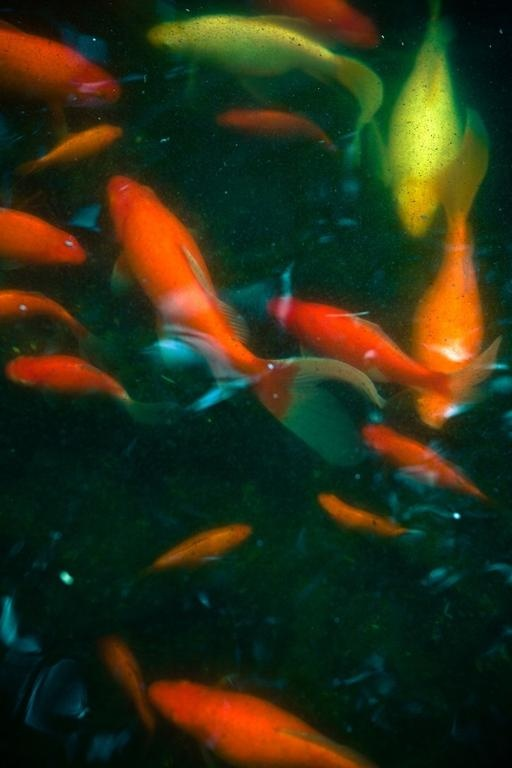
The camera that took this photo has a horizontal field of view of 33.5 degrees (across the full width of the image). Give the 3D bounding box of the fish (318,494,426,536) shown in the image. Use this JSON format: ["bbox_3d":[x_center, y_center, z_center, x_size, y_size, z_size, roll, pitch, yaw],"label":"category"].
[{"bbox_3d":[0.195,0.250,1.555,0.186,0.026,0.041,23,54,5],"label":"fish"}]

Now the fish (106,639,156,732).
[{"bbox_3d":[-0.228,0.521,1.486,0.039,0.103,0.132,-36,64,-6],"label":"fish"}]
